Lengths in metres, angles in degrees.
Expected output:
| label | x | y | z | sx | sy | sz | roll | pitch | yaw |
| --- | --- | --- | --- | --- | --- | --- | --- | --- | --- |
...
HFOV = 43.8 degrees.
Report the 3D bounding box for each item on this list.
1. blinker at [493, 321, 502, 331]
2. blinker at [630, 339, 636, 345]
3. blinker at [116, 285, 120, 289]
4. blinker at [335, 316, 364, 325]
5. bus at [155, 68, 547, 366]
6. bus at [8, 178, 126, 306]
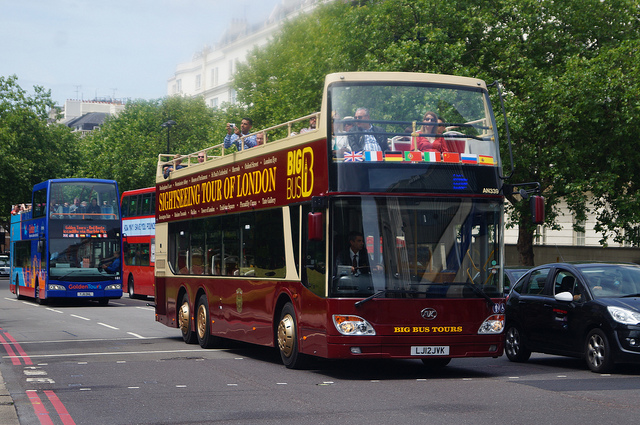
| label | x | y | z | sx | sy | sz | roll | pitch | yaw |
| --- | --- | --- | --- | --- | --- | --- | --- | --- | --- |
| blinker | 3.349 | 2.182 | 15.059 | 0.169 | 0.131 | 0.028 | -2 | 1 | -23 |
| blinker | 5.840 | 2.458 | 14.922 | 0.089 | 0.086 | 0.154 | -2 | -11 | -8 |
| blinker | -8.847 | 3.304 | 34.813 | 0.131 | 0.073 | 0.139 | 1 | 0 | 2 |
| blinker | 0.515 | 1.985 | 14.534 | 0.498 | 0.122 | 0.066 | -2 | 0 | -5 |
| bus | -0.584 | 0.490 | 20.287 | 4.673 | 5.810 | 13.249 | 2 | -4 | -25 |
| bus | -12.309 | 1.674 | 37.611 | 3.245 | 4.479 | 8.846 | 2 | -6 | -28 |
